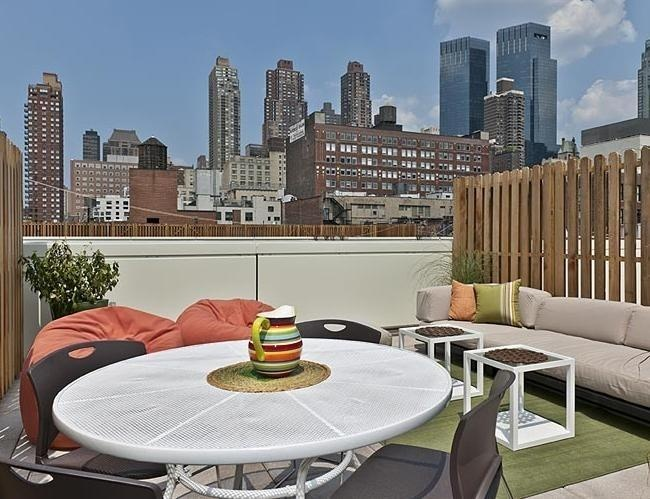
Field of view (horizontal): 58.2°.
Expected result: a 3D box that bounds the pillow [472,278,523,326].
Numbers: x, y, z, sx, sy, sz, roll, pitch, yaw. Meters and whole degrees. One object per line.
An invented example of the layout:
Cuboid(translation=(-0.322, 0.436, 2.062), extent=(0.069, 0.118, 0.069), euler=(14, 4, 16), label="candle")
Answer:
Cuboid(translation=(1.812, 0.573, 6.135), extent=(0.362, 0.408, 0.140), euler=(-3, -26, 29), label="pillow")

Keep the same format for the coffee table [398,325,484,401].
Cuboid(translation=(1.093, 1.054, 5.526), extent=(0.568, 0.631, 0.615), euler=(-5, 4, -25), label="coffee table")

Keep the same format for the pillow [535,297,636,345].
Cuboid(translation=(2.466, 0.667, 5.562), extent=(0.282, 0.362, 0.864), euler=(18, -9, -33), label="pillow")

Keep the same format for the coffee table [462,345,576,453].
Cuboid(translation=(1.493, 1.106, 4.526), extent=(0.659, 0.632, 0.641), euler=(-4, 5, -34), label="coffee table")

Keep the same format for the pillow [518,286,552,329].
Cuboid(translation=(2.263, 0.628, 6.115), extent=(0.469, 0.456, 0.266), euler=(9, -9, -28), label="pillow")

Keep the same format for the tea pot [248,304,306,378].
Cuboid(translation=(-0.263, 0.495, 3.095), extent=(0.258, 0.369, 0.357), euler=(2, 6, 16), label="tea pot")

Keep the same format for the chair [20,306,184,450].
Cuboid(translation=(-1.694, 1.081, 4.432), extent=(0.921, 0.745, 0.962), euler=(21, 17, 23), label="chair")
